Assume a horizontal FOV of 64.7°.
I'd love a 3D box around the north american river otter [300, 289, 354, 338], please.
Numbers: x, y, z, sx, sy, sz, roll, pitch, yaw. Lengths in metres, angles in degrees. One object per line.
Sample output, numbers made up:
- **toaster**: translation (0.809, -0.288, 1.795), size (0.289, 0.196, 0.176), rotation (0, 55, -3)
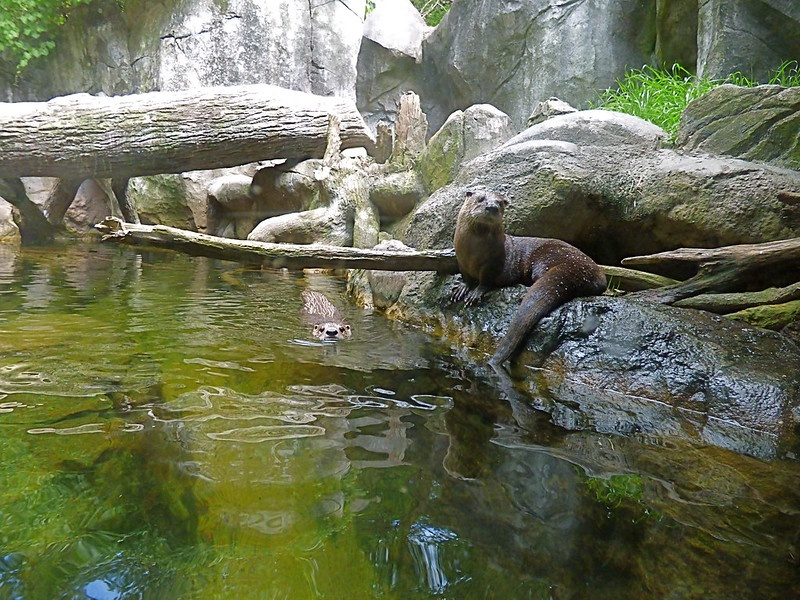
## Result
- **north american river otter**: translation (-0.549, 0.134, 4.640), size (0.193, 0.259, 0.824), rotation (-22, 20, -5)
